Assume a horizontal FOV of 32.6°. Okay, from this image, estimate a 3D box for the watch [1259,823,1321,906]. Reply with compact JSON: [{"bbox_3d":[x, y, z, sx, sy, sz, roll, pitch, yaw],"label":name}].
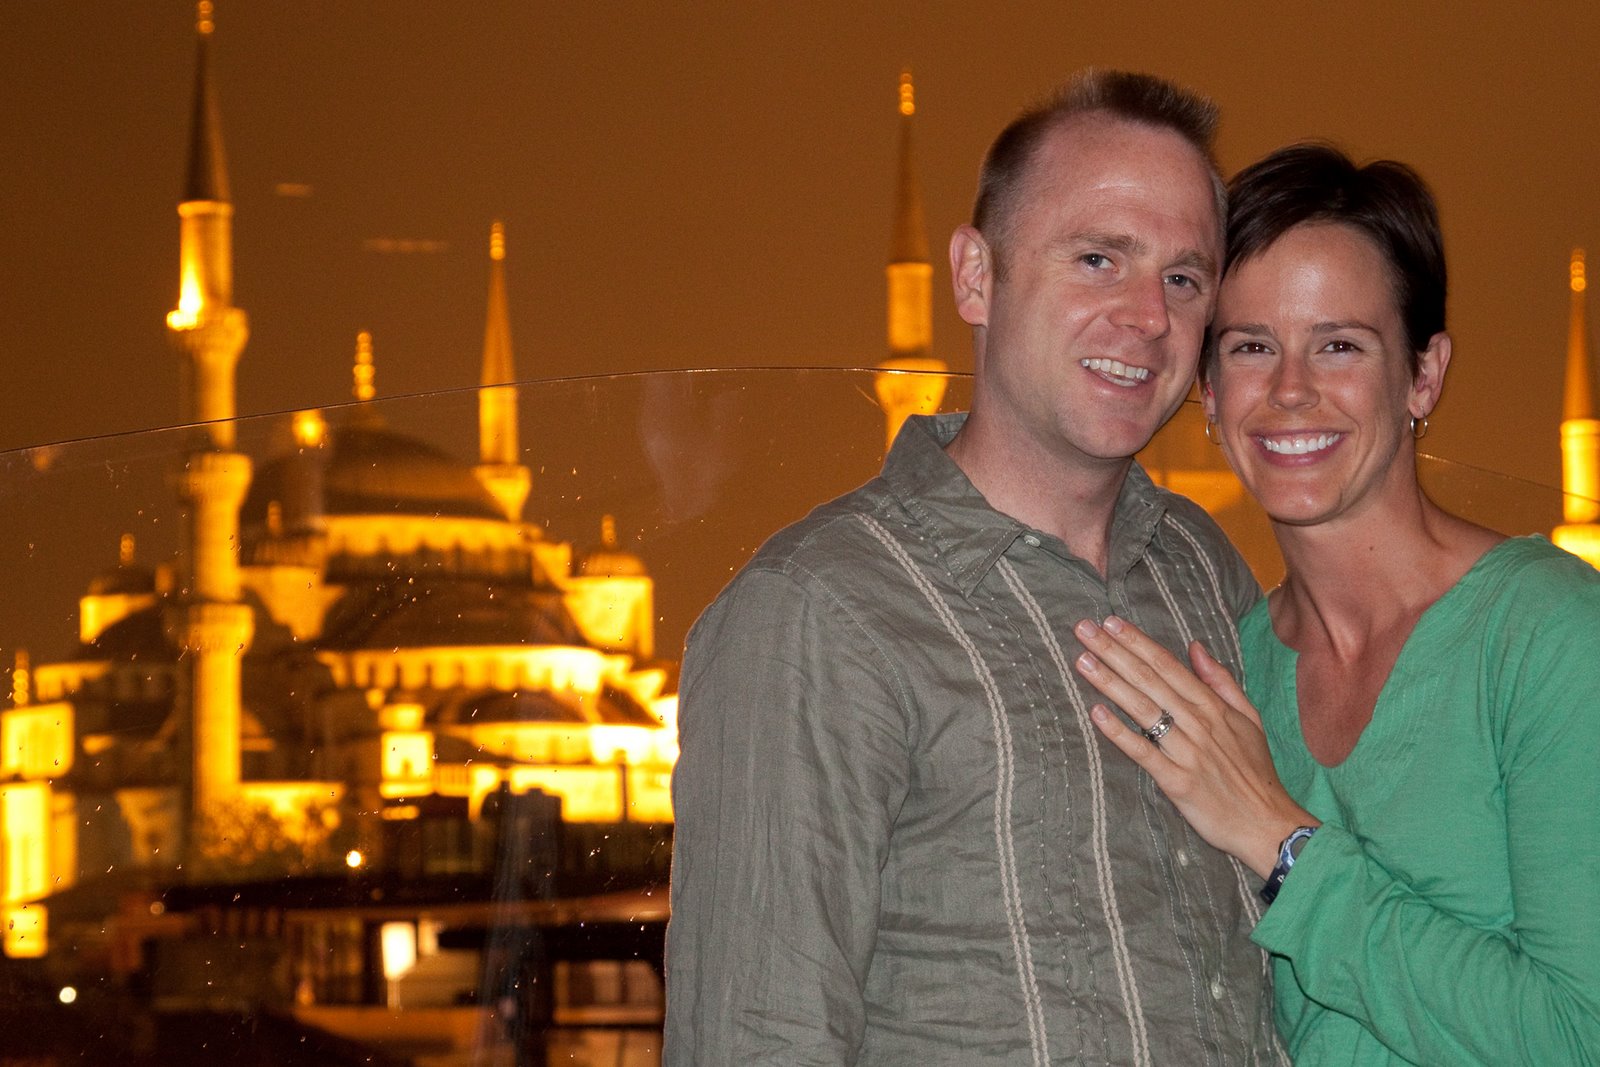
[{"bbox_3d":[0.874,0.589,4.908,0.071,0.113,0.103,44,-34,-17],"label":"watch"}]
